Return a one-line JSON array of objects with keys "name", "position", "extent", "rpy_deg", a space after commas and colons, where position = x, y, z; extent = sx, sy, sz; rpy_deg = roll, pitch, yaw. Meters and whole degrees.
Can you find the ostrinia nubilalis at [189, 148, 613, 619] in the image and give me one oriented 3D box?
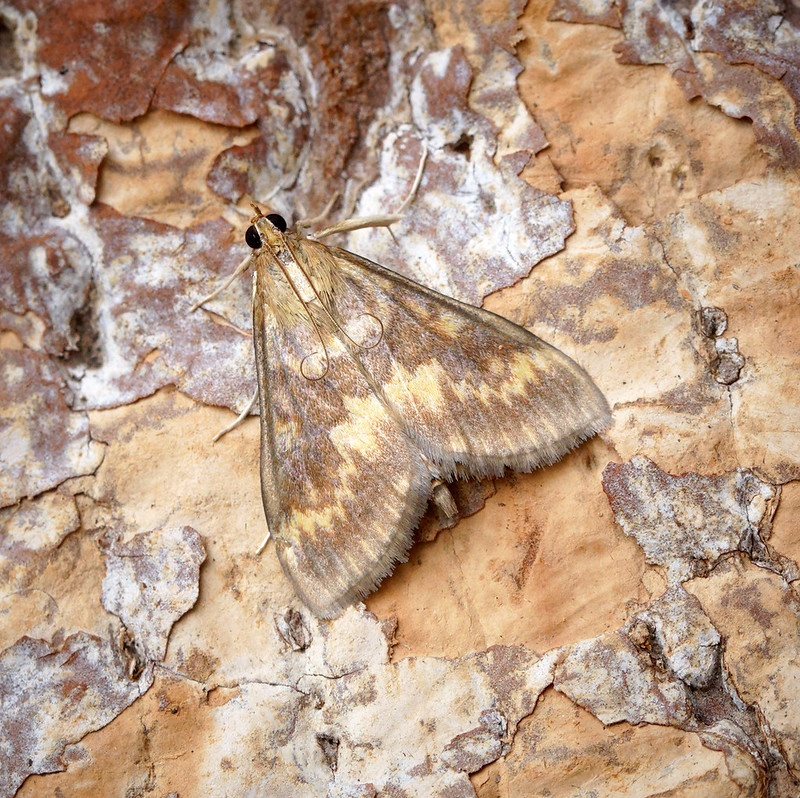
[{"name": "ostrinia nubilalis", "position": [-0.010, -0.020, 5.945], "extent": [1.288, 1.239, 2.688], "rpy_deg": [-9, 45, -17]}]
